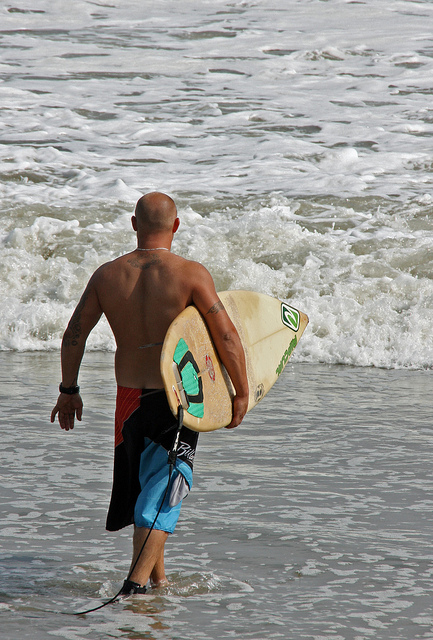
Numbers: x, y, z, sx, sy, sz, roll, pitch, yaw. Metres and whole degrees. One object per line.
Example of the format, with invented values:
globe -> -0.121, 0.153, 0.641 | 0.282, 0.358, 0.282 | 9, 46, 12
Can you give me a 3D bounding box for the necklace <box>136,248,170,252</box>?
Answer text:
necklace -> -0.230, -0.249, 3.403 | 0.116, 0.015, 0.012 | 0, 33, 1
